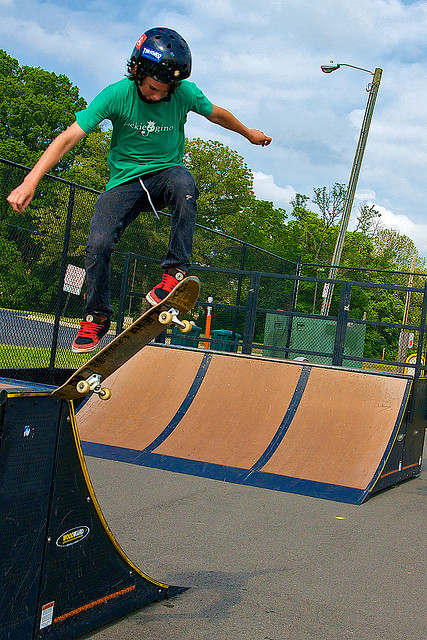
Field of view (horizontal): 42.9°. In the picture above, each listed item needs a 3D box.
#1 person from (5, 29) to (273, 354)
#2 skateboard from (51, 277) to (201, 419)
[{"bbox_3d":[-0.354,-0.546,2.508,0.638,1.421,0.880,5,-5,14],"label":"person"},{"bbox_3d":[-0.353,0.151,2.234,0.296,0.171,1.018,-32,2,-41],"label":"skateboard"}]
